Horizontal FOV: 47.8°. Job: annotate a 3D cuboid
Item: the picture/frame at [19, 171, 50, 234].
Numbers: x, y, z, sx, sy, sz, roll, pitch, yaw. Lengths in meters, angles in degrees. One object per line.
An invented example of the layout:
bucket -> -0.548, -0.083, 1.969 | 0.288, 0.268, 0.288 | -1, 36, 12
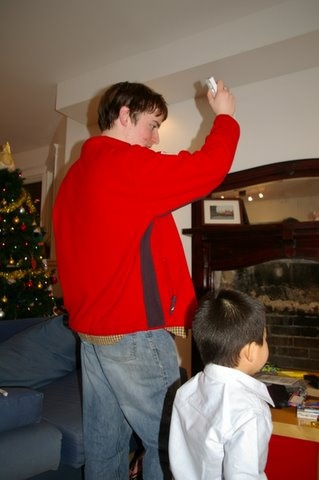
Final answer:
picture/frame -> -1.269, -0.387, 3.701 | 0.063, 0.883, 0.744 | -2, -3, -42

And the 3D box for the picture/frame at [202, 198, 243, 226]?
picture/frame -> 0.444, -0.192, 2.528 | 0.214, 0.190, 0.017 | 0, -33, 3
